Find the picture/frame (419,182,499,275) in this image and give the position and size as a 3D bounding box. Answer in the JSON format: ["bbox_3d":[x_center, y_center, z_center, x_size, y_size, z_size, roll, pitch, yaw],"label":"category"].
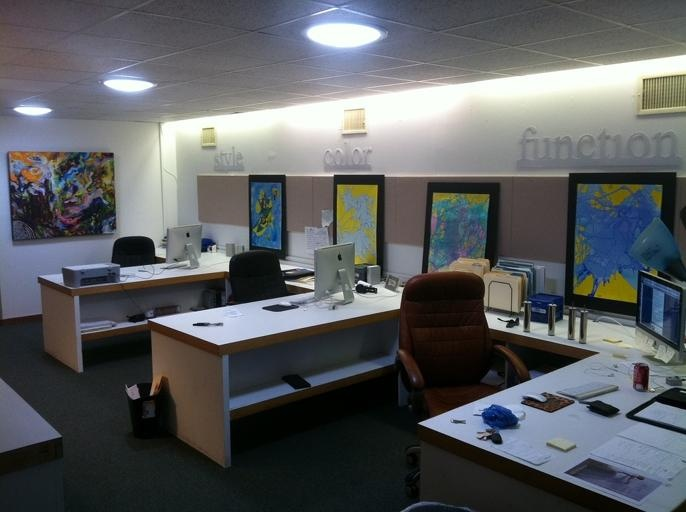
[{"bbox_3d":[1.218,-0.282,5.076,0.836,1.172,0.049,9,9,44],"label":"picture/frame"}]

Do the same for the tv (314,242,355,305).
[{"bbox_3d":[-0.021,0.190,4.955,0.185,0.567,0.584,6,11,40],"label":"tv"}]

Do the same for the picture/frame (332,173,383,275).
[{"bbox_3d":[0.199,-0.369,5.804,0.111,1.517,1.040,-9,13,-44],"label":"picture/frame"}]

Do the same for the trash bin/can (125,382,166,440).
[{"bbox_3d":[-1.718,1.357,4.367,0.337,0.362,0.338,1,3,32],"label":"trash bin/can"}]

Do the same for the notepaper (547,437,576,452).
[{"bbox_3d":[1.109,0.953,2.537,0.102,0.023,0.118,-10,15,-42],"label":"notepaper"}]

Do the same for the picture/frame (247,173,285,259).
[{"bbox_3d":[-1.043,-0.567,6.896,0.064,1.500,1.079,-7,10,-43],"label":"picture/frame"}]

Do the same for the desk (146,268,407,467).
[{"bbox_3d":[-0.472,0.999,4.780,1.082,0.959,2.289,4,6,41],"label":"desk"}]

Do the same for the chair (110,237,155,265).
[{"bbox_3d":[-2.902,-0.088,6.962,0.405,0.575,0.470,-4,16,-34],"label":"chair"}]

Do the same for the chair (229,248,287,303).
[{"bbox_3d":[-0.943,0.187,5.422,0.504,0.687,0.563,-4,5,-35],"label":"chair"}]

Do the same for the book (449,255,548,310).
[{"bbox_3d":[1.456,0.246,4.813,0.760,0.466,0.434,6,16,40],"label":"book"}]

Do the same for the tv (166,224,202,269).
[{"bbox_3d":[-2.021,-0.145,6.519,0.177,0.475,0.547,8,10,35],"label":"tv"}]

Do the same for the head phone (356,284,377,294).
[{"bbox_3d":[0.249,0.345,5.389,0.110,0.076,0.145,2,3,-41],"label":"head phone"}]
